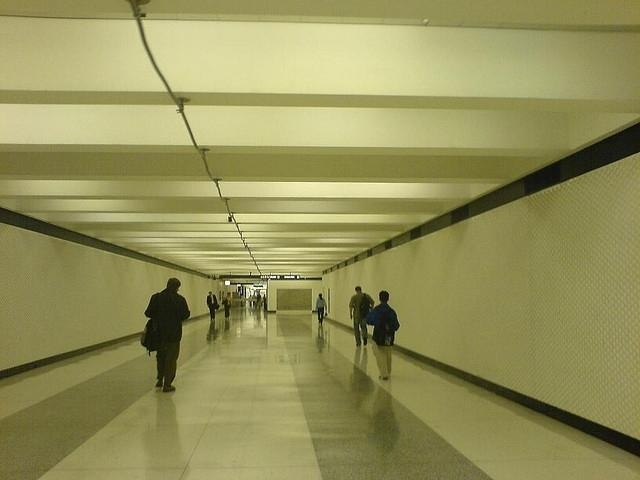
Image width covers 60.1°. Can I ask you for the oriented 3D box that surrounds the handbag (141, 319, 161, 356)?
[{"bbox_3d":[-3.012,1.726,9.772,0.275,0.631,0.602,1,-4,-20],"label":"handbag"}]

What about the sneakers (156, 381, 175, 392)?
[{"bbox_3d":[-2.751,2.607,9.841,0.163,0.201,0.440,2,-1,9],"label":"sneakers"}]
